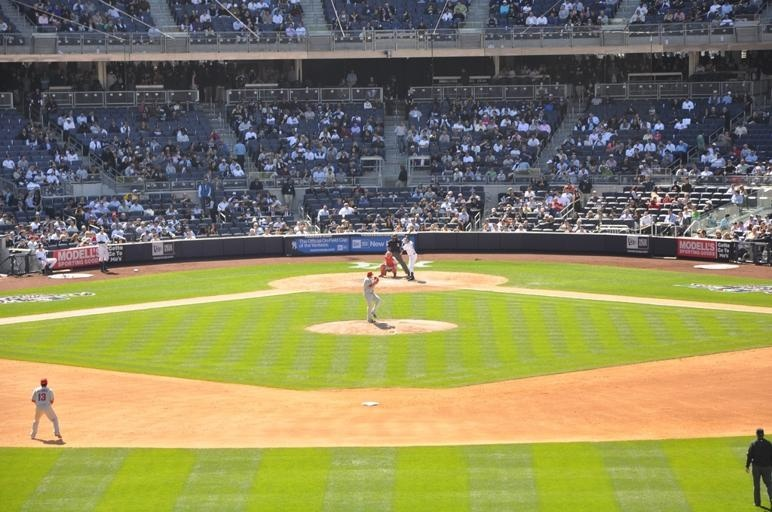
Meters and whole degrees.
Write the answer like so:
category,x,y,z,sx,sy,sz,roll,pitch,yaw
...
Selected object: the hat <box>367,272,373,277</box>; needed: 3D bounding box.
category,x,y,z,sx,sy,sz,roll,pitch,yaw
hat,-0.703,0.778,53.145,0.167,0.207,0.199,9,20,14
